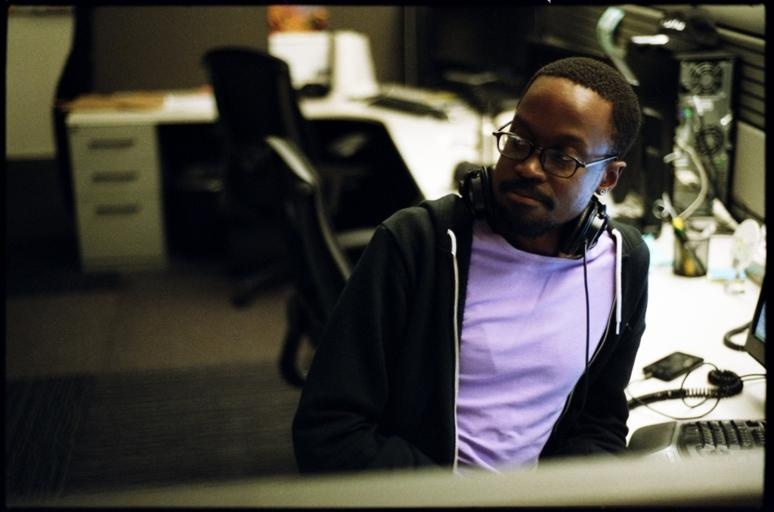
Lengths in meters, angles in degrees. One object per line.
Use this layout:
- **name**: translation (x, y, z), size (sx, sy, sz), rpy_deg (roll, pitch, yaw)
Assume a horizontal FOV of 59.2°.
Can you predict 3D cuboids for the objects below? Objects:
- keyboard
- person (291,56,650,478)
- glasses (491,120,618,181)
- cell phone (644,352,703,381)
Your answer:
- **keyboard**: translation (0.651, 0.386, 1.449), size (0.258, 0.042, 0.097), rpy_deg (-4, 53, 13)
- **person**: translation (0.177, 0.045, 1.387), size (0.809, 0.824, 0.249), rpy_deg (-7, 22, -8)
- **glasses**: translation (0.339, -0.214, 1.360), size (0.242, 0.107, 0.100), rpy_deg (1, 21, 10)
- **cell phone**: translation (0.642, 0.247, 1.526), size (0.109, 0.022, 0.058), rpy_deg (-17, 29, -13)
